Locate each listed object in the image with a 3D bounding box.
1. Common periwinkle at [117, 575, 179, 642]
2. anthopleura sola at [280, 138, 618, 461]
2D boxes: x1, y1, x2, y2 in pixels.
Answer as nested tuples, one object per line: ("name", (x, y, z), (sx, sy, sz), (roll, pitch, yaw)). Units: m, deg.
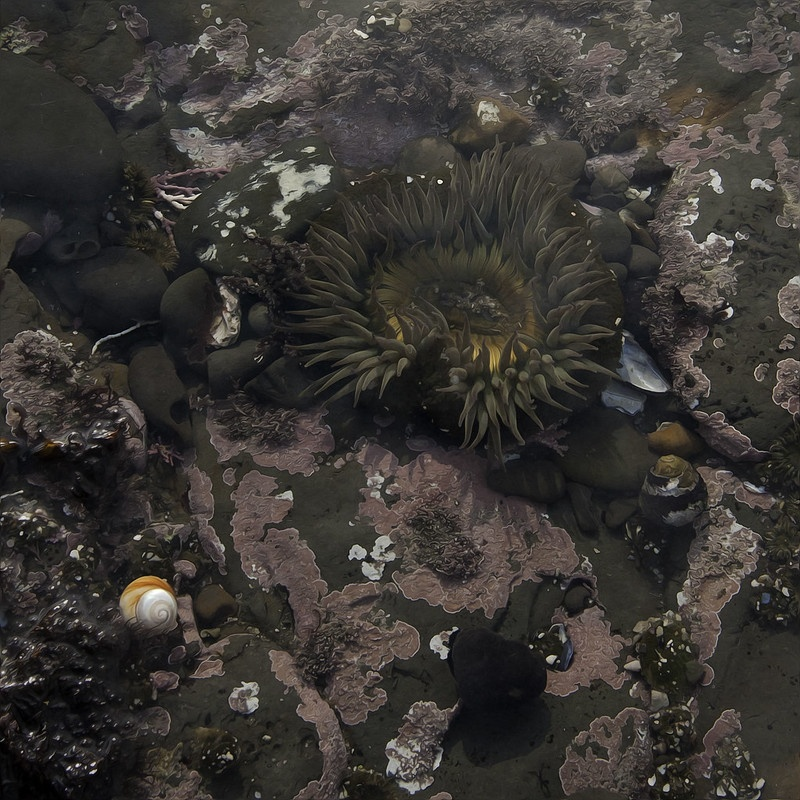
("Common periwinkle", (-1.986, 1.636, 7.446), (0.411, 0.377, 0.397), (-17, 33, -12))
("anthopleura sola", (0.488, -0.826, 8.070), (2.623, 2.206, 1.859), (-9, 33, -1))
